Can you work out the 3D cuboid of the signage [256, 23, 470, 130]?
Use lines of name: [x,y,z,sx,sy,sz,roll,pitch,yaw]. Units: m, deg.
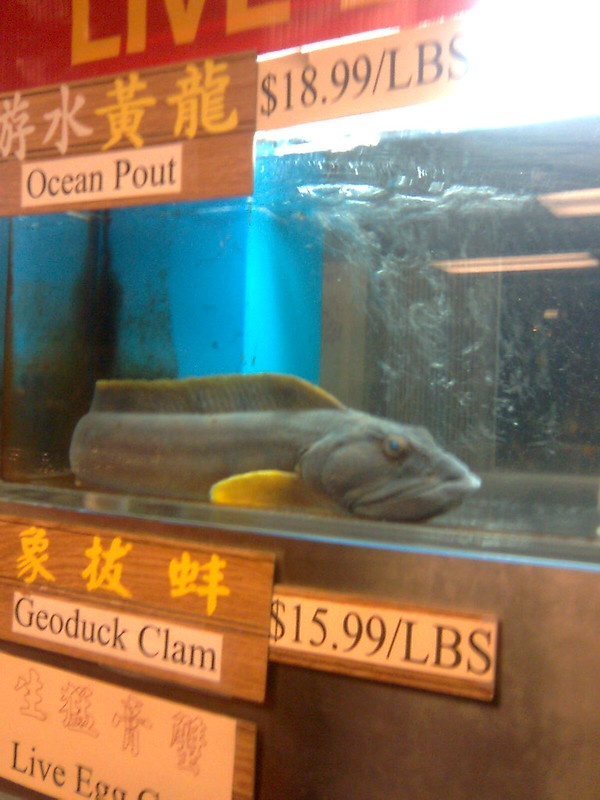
signage: [0.047,-0.277,0.566,0.190,0.064,0.011,1,4,25]
